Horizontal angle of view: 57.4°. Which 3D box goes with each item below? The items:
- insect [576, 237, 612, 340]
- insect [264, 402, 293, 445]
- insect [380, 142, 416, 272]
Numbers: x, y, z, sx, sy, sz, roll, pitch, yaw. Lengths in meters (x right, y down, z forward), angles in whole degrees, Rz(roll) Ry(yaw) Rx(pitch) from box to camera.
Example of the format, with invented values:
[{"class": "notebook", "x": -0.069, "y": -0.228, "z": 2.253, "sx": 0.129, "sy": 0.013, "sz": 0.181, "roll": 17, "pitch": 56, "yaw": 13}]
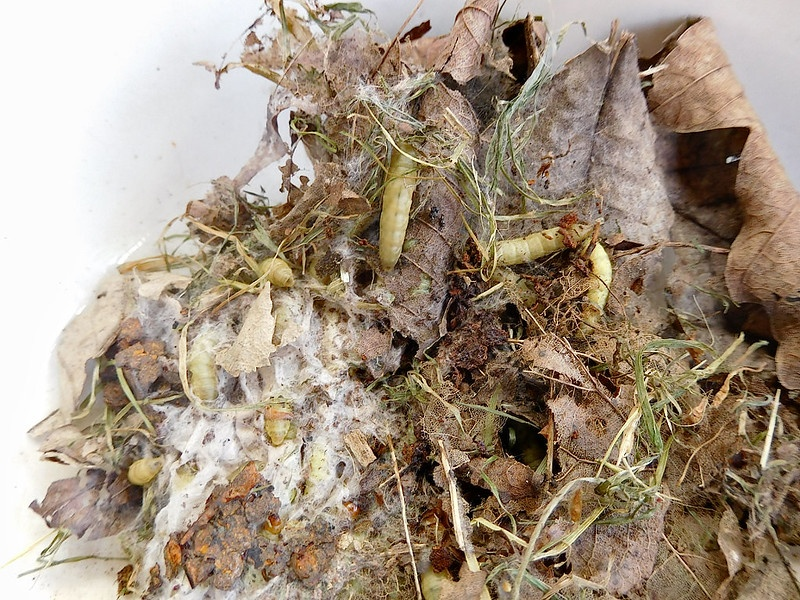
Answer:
[{"class": "insect", "x": 0.407, "y": -0.023, "z": 1.531, "sx": 0.077, "sy": 0.133, "sz": 0.030, "roll": -7, "pitch": 3, "yaw": -26}, {"class": "insect", "x": -0.258, "y": 0.258, "z": 1.530, "sx": 0.057, "sy": 0.091, "sz": 0.019, "roll": -3, "pitch": -4, "yaw": 7}, {"class": "insect", "x": -0.004, "y": -0.185, "z": 1.504, "sx": 0.106, "sy": 0.205, "sz": 0.053, "roll": -5, "pitch": 2, "yaw": 15}]
